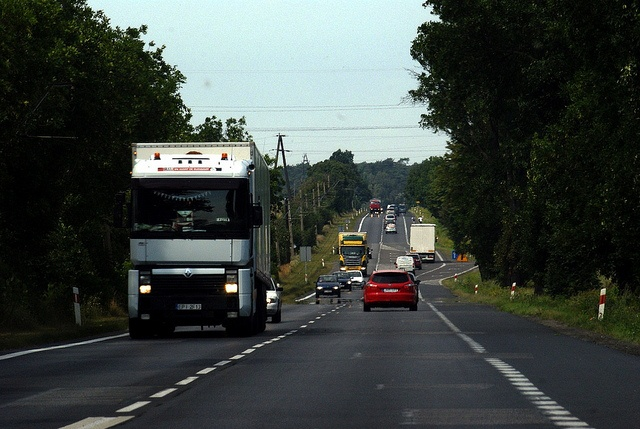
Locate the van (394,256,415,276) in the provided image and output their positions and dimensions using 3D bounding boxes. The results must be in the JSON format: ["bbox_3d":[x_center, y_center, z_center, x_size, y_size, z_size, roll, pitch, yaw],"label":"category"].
[{"bbox_3d":[9.860,6.172,93.207,2.014,2.117,3.815,1,6,4],"label":"van"}]

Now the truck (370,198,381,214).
[{"bbox_3d":[14.639,-1.990,211.527,1.884,2.485,4.219,-1,-5,6],"label":"truck"}]

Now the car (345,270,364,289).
[{"bbox_3d":[3.305,6.082,76.094,1.643,1.638,3.135,0,-11,1],"label":"car"}]

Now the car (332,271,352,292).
[{"bbox_3d":[2.040,5.864,71.389,1.328,1.362,2.567,0,-10,0],"label":"car"}]

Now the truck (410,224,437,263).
[{"bbox_3d":[13.975,3.636,110.041,2.269,3.594,6.372,0,-3,4],"label":"truck"}]

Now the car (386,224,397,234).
[{"bbox_3d":[13.684,2.731,155.154,1.309,1.191,3.318,1,5,4],"label":"car"}]

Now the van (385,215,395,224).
[{"bbox_3d":[14.429,0.991,165.661,1.531,1.337,3.620,0,5,6],"label":"van"}]

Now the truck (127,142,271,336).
[{"bbox_3d":[-3.642,0.697,24.825,4.268,6.133,2.954,-2,-3,-15],"label":"truck"}]

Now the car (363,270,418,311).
[{"bbox_3d":[3.454,3.624,39.660,2.454,1.852,1.209,-4,-4,-1],"label":"car"}]

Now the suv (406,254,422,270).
[{"bbox_3d":[11.616,5.835,100.443,1.402,1.177,3.275,1,5,6],"label":"suv"}]
